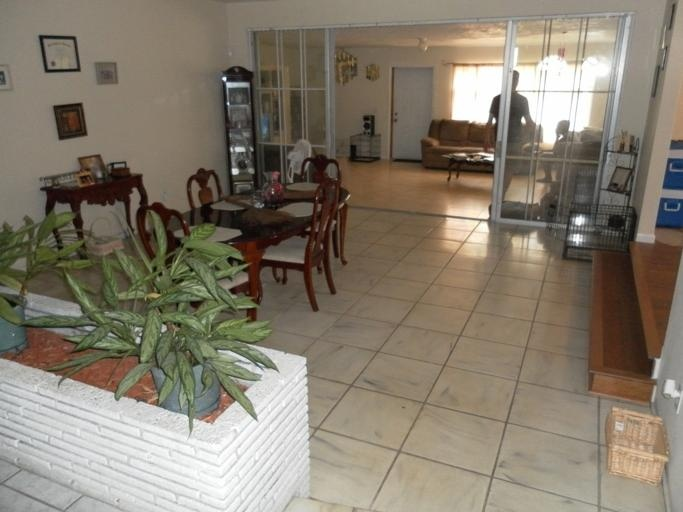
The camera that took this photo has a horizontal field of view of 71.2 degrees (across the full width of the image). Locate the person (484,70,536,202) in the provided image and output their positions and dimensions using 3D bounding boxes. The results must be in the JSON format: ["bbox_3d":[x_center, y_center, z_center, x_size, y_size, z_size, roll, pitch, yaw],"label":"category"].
[{"bbox_3d":[2.239,-1.709,6.607,0.413,1.607,0.953,-3,20,-8],"label":"person"}]

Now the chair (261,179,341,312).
[{"bbox_3d":[-0.409,-0.139,4.357,0.775,1.152,0.766,17,23,41],"label":"chair"}]

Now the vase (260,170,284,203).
[{"bbox_3d":[-0.655,-0.648,4.558,0.211,0.305,0.235,4,12,12],"label":"vase"}]

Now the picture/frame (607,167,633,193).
[{"bbox_3d":[3.177,-0.871,5.431,0.079,0.300,0.315,12,13,-15],"label":"picture/frame"}]

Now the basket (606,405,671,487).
[{"bbox_3d":[1.677,1.081,2.712,0.284,0.160,0.395,2,19,30],"label":"basket"}]

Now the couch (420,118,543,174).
[{"bbox_3d":[3.000,-2.372,10.436,2.346,1.202,0.876,8,12,19],"label":"couch"}]

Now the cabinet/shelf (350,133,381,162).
[{"bbox_3d":[0.598,-2.707,11.971,0.870,0.882,0.662,8,22,20],"label":"cabinet/shelf"}]

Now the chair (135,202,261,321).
[{"bbox_3d":[-1.155,0.009,3.627,0.626,0.894,0.657,20,23,40],"label":"chair"}]

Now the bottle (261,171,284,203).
[{"bbox_3d":[-0.655,-0.641,4.569,0.224,0.321,0.250,2,12,15],"label":"bottle"}]

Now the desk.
[{"bbox_3d":[-2.738,-0.488,5.518,0.438,0.777,1.128,7,19,17],"label":"desk"}]
